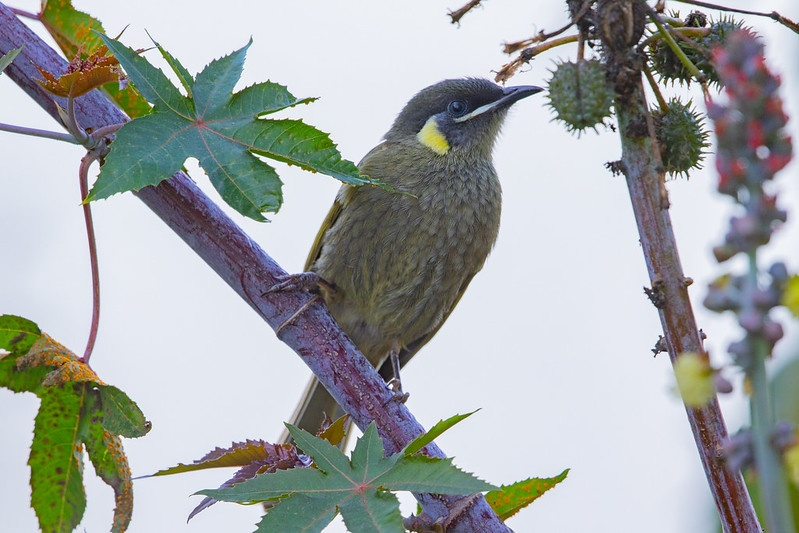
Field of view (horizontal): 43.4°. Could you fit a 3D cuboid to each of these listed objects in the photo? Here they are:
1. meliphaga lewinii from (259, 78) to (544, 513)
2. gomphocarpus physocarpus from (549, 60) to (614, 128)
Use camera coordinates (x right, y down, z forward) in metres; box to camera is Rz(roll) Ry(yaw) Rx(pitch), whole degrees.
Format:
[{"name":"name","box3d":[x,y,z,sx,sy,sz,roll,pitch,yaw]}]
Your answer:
[{"name":"meliphaga lewinii","box3d":[-0.015,0.329,5.978,0.983,2.185,2.180,32,-43,-31]},{"name":"gomphocarpus physocarpus","box3d":[0.499,-0.480,2.784,0.169,0.179,0.176,-12,-59,11]}]
